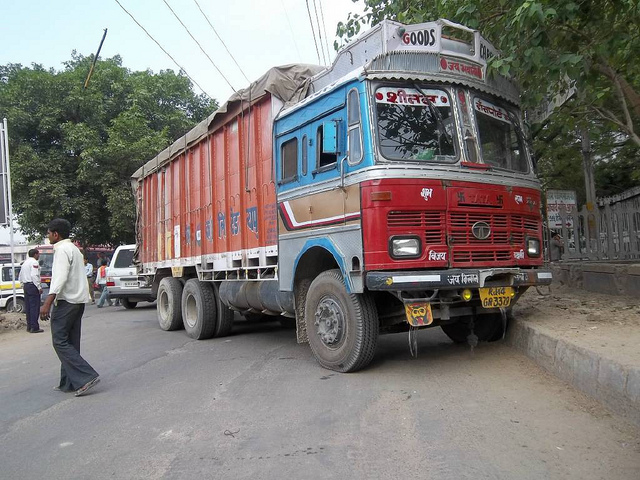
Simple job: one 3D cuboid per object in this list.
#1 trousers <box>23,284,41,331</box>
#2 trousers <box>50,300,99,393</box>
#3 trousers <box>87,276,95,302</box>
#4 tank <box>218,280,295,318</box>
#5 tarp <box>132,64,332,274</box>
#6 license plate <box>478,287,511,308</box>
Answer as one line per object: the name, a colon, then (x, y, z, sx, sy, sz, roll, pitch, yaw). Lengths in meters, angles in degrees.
trousers: (-8.400, 1.927, 12.424, 0.398, 1.344, 0.351, -10, -6, 15)
trousers: (-3.460, 1.489, 6.004, 0.709, 1.424, 0.473, -3, 0, 44)
trousers: (-10.592, 2.324, 19.757, 0.145, 1.307, 1.740, -3, -1, -28)
tank: (-0.870, 1.003, 8.027, 1.986, 0.705, 0.601, -4, 18, 21)
tarp: (-2.191, -1.186, 10.175, 2.282, 3.270, 5.843, -6, -4, -45)
license plate: (2.300, 0.754, 5.596, 0.539, 0.247, 0.045, -4, 1, -25)
